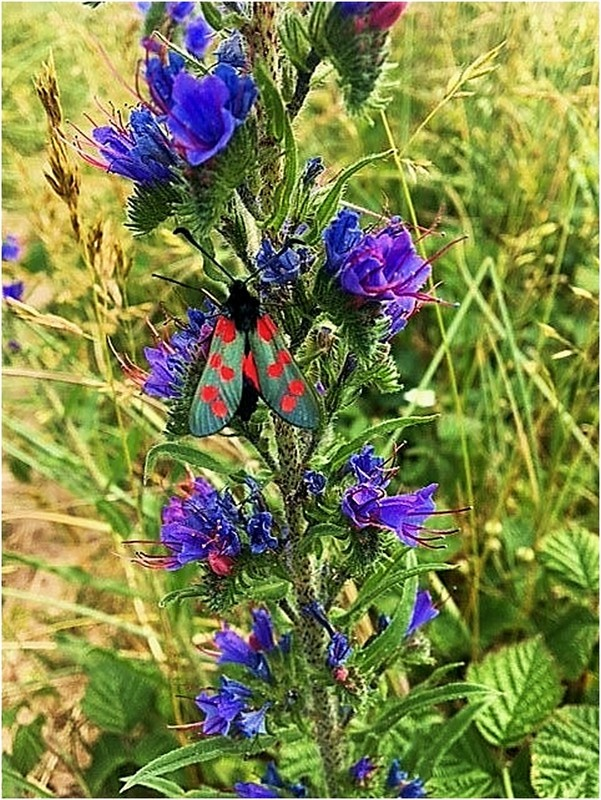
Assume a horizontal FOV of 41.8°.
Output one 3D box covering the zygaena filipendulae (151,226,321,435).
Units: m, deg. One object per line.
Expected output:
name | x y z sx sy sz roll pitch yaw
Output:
zygaena filipendulae | -0.125 -0.086 1.815 0.387 0.141 0.464 -13 63 11
